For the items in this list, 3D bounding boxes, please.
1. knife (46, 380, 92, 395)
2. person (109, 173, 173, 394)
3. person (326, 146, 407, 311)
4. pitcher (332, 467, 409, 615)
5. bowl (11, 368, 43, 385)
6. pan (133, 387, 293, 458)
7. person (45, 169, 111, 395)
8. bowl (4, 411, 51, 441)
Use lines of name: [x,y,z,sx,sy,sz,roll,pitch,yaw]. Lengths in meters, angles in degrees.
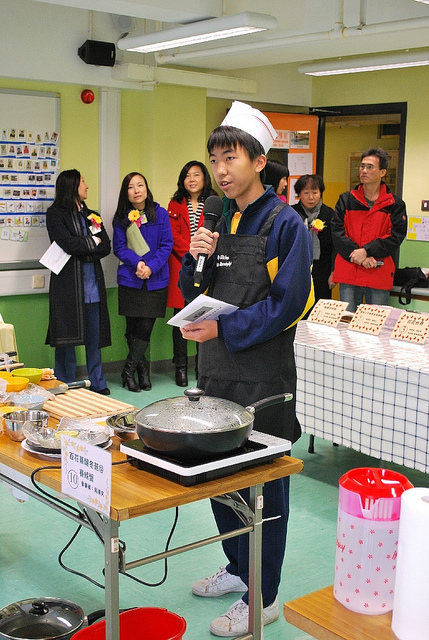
knife: [-0.594,0.264,1.957,0.162,0.059,0.167,0,8,-18]
person: [-0.812,-0.411,5.309,0.628,2.275,0.703,-2,9,-28]
person: [1.604,-0.920,5.247,0.683,1.659,0.774,-1,8,-24]
pitcher: [0.204,0.309,0.644,0.084,0.212,0.073,5,8,22]
bowl: [-0.788,0.230,2.027,0.080,0.031,0.080,4,5,0]
pan: [-0.017,0.193,1.039,0.237,0.082,0.142,-2,3,-43]
person: [-1.359,-0.350,4.813,0.628,2.234,0.360,-1,8,-20]
bowl: [-0.557,0.307,1.444,0.089,0.044,0.090,2,-1,0]
